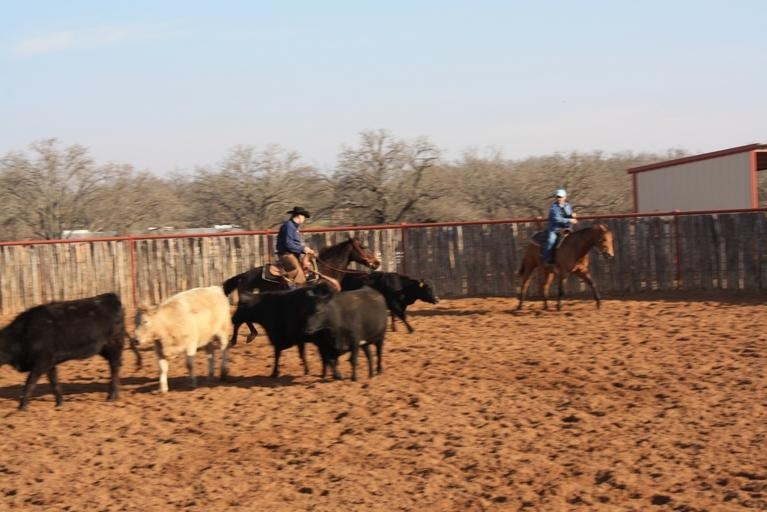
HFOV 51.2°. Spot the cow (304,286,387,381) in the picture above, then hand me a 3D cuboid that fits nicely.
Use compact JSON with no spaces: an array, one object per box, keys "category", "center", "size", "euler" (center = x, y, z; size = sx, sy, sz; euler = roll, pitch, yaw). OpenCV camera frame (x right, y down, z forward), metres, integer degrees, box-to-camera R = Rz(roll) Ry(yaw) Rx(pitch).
[{"category":"cow","center":[-0.649,1.295,12.984],"size":[0.611,1.429,1.491],"euler":[-2,2,40]}]

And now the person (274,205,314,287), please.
[{"category":"person","center":[-1.721,-0.189,15.370],"size":[0.695,1.492,0.725],"euler":[-4,2,-4]}]

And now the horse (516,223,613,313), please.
[{"category":"horse","center":[3.999,0.268,18.020],"size":[0.890,1.880,2.267],"euler":[-4,3,-23]}]

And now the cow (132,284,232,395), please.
[{"category":"cow","center":[-3.206,1.367,13.076],"size":[1.425,1.633,1.356],"euler":[-3,2,-6]}]
